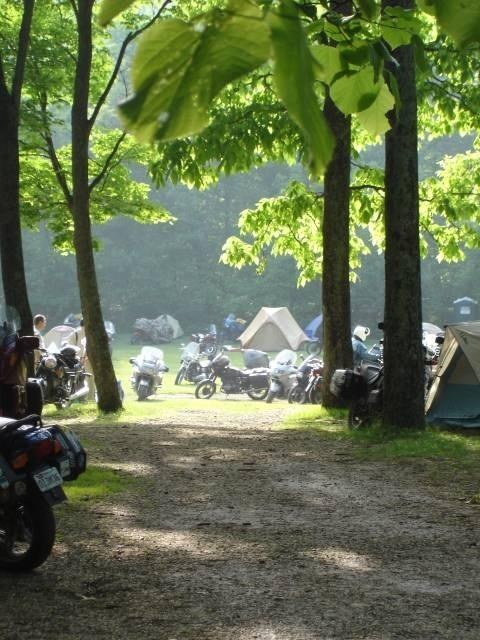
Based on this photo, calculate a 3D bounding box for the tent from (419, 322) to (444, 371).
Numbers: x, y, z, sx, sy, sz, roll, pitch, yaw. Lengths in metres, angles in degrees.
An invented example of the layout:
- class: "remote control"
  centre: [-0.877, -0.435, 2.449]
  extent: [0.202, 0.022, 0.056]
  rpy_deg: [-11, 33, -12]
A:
- class: "tent"
  centre: [3.034, 0.406, 13.012]
  extent: [0.664, 0.751, 0.285]
  rpy_deg: [0, 11, -2]
